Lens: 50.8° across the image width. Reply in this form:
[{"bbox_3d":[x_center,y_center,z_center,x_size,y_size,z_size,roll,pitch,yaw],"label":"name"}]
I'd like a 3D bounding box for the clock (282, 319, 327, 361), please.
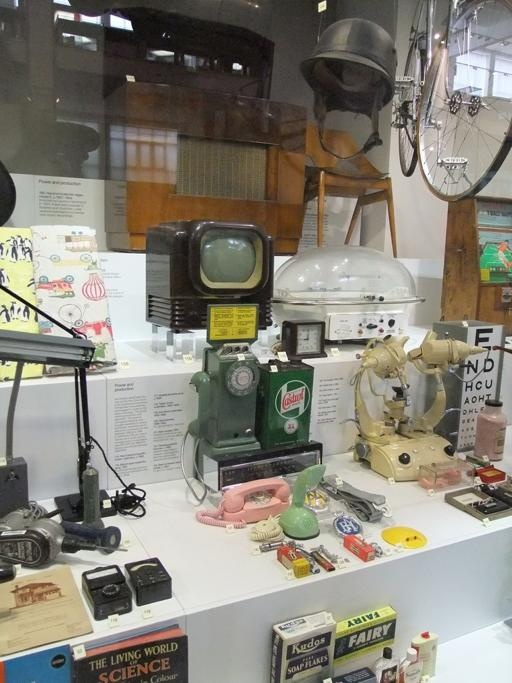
[{"bbox_3d":[0.174,-0.031,2.083,0.189,0.180,0.135,-6,13,-31],"label":"clock"}]

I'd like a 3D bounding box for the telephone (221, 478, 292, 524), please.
[{"bbox_3d":[0.009,0.467,1.592,0.216,0.107,0.097,-6,4,-14],"label":"telephone"}]

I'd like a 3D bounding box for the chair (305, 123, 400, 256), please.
[{"bbox_3d":[0.543,-0.869,3.150,0.514,0.731,0.822,3,8,6],"label":"chair"}]
